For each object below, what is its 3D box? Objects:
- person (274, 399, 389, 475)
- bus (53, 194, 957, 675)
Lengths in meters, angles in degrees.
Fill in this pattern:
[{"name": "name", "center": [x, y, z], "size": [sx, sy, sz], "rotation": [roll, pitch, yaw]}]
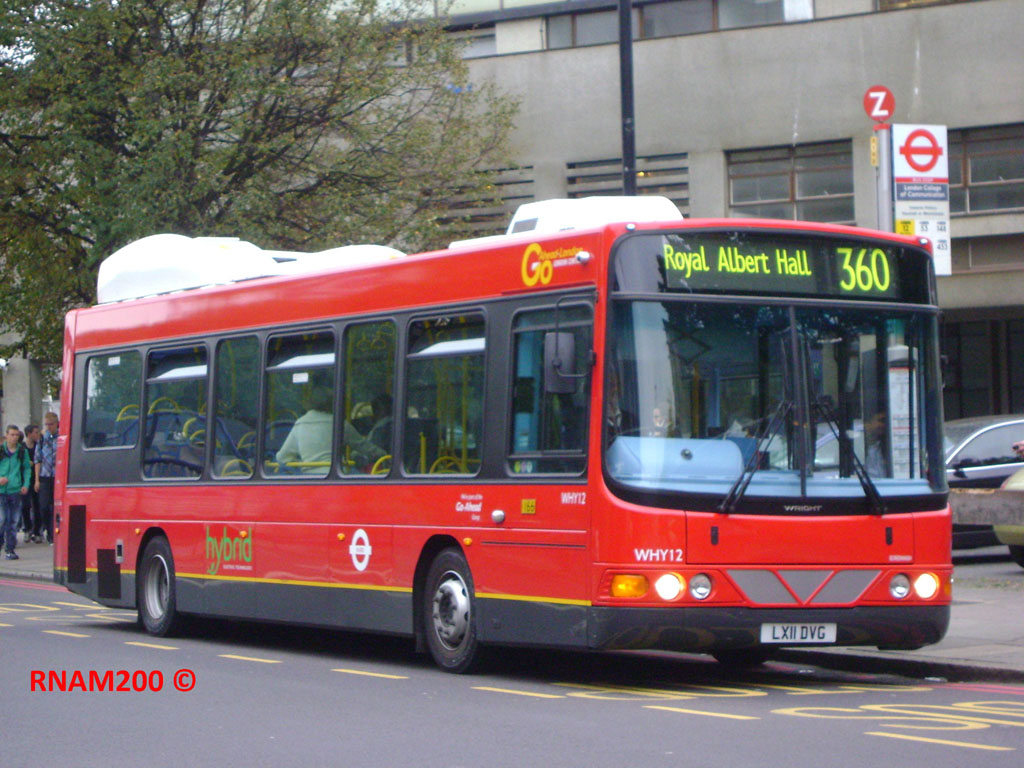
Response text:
[{"name": "person", "center": [-1.777, 0.580, 12.271], "size": [0.488, 0.770, 1.668], "rotation": [3, -10, -34]}, {"name": "bus", "center": [-1.172, 0.294, 13.315], "size": [3.060, 4.836, 11.088], "rotation": [2, -6, -44]}]
